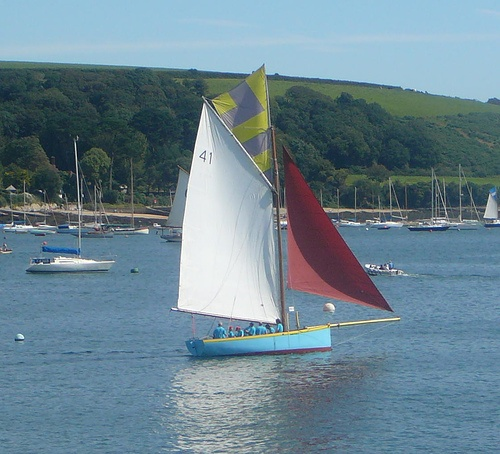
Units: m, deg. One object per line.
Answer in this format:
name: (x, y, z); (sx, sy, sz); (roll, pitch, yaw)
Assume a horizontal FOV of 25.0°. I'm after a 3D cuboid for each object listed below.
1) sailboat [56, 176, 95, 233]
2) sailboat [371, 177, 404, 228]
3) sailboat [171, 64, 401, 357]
sailboat: (-32.969, -4.281, 214.527); (3.637, 12.314, 3.117); (-15, 8, 6)
sailboat: (31.787, -5.451, 260.895); (3.993, 12.504, 4.703); (-11, 4, -31)
sailboat: (1.650, 0.314, 67.238); (9.468, 19.849, 11.785); (-8, 4, -30)
